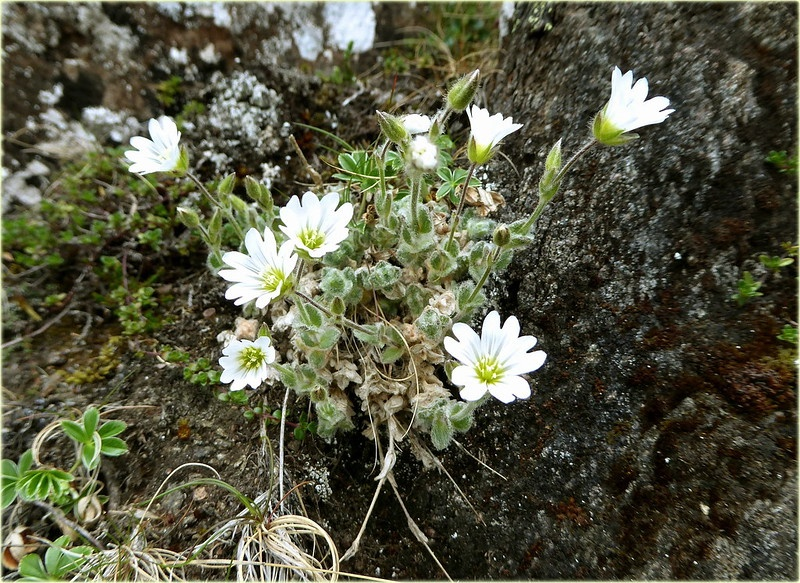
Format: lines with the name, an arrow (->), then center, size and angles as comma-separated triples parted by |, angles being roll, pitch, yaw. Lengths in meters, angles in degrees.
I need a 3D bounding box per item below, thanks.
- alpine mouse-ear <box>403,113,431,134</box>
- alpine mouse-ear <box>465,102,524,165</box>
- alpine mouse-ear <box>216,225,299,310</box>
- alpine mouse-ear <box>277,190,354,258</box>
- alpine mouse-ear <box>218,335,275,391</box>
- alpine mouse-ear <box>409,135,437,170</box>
alpine mouse-ear -> 0.089, -0.889, 3.230 | 0.133, 0.081, 0.099 | -2, 81, -2
alpine mouse-ear -> 0.407, -0.756, 3.025 | 0.253, 0.277, 0.262 | 20, 91, -14
alpine mouse-ear -> -0.642, -0.113, 2.855 | 0.359, 0.209, 0.395 | -18, 71, 9
alpine mouse-ear -> -0.458, -0.305, 2.989 | 0.282, 0.290, 0.149 | -7, 83, -28
alpine mouse-ear -> -0.737, 0.347, 3.004 | 0.269, 0.115, 0.238 | -10, 82, -4
alpine mouse-ear -> 0.113, -0.633, 2.818 | 0.131, 0.065, 0.162 | -4, 82, -3
